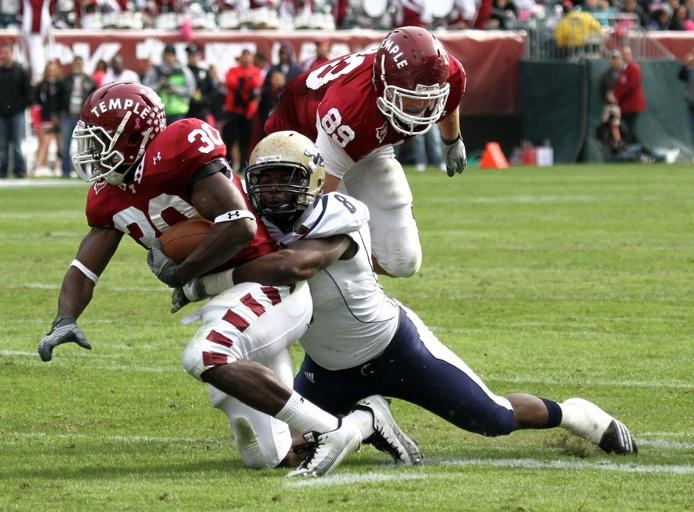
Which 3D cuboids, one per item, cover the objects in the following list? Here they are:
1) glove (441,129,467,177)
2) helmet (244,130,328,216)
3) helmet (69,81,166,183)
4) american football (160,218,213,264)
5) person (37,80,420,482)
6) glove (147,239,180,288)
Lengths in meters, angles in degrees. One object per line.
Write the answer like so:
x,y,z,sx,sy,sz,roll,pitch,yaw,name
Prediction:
0.560,-0.524,6.418,0.139,0.205,0.081,2,18,18,glove
-0.187,-0.304,4.784,0.270,0.263,0.344,-8,-4,22,helmet
-0.910,-0.480,4.820,0.432,0.382,0.353,2,1,-7,helmet
-0.603,-0.065,4.726,0.223,0.128,0.164,-10,-11,28,american football
-0.534,0.085,4.639,1.372,1.431,0.608,5,14,27,person
-0.708,0.042,4.706,0.103,0.202,0.225,-3,12,-9,glove
